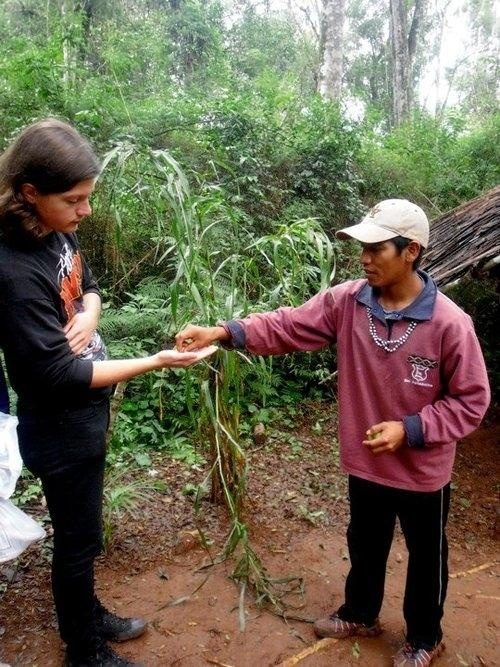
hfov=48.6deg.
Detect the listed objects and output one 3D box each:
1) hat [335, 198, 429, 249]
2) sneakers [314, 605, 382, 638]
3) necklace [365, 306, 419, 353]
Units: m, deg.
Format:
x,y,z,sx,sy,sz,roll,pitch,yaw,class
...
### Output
x,y,z,sx,sy,sz,roll,pitch,yaw,class
0.438,-0.360,1.846,0.251,0.125,0.157,11,12,-5,hat
0.405,1.183,2.311,0.274,0.121,0.102,3,3,-10,sneakers
0.476,-0.011,1.830,0.114,0.147,0.026,-3,-8,24,necklace
